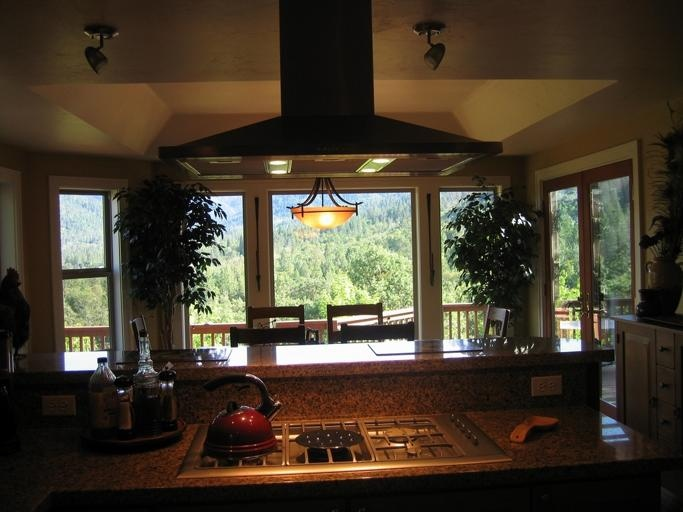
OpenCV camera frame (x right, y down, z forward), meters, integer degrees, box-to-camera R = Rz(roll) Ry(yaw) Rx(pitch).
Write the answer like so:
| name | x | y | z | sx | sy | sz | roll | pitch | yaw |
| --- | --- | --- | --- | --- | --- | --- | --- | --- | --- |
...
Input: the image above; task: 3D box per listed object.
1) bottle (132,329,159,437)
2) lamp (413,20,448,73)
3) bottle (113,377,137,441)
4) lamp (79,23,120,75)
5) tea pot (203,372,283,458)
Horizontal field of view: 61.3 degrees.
| name | x | y | z | sx | sy | sz | roll | pitch | yaw |
| --- | --- | --- | --- | --- | --- | --- | --- | --- | --- |
| bottle | -0.852 | 0.549 | 2.499 | 0.119 | 0.436 | 0.119 | -3 | -2 | 0 |
| lamp | 0.496 | -1.176 | 3.234 | 0.187 | 0.250 | 0.197 | -2 | 8 | 33 |
| bottle | -0.919 | 0.623 | 2.431 | 0.078 | 0.249 | 0.104 | -4 | 14 | -20 |
| lamp | -1.330 | -1.124 | 3.177 | 0.203 | 0.255 | 0.206 | 1 | 2 | -4 |
| tea pot | -0.424 | 0.660 | 2.487 | 0.355 | 0.320 | 0.298 | -6 | 5 | -8 |
